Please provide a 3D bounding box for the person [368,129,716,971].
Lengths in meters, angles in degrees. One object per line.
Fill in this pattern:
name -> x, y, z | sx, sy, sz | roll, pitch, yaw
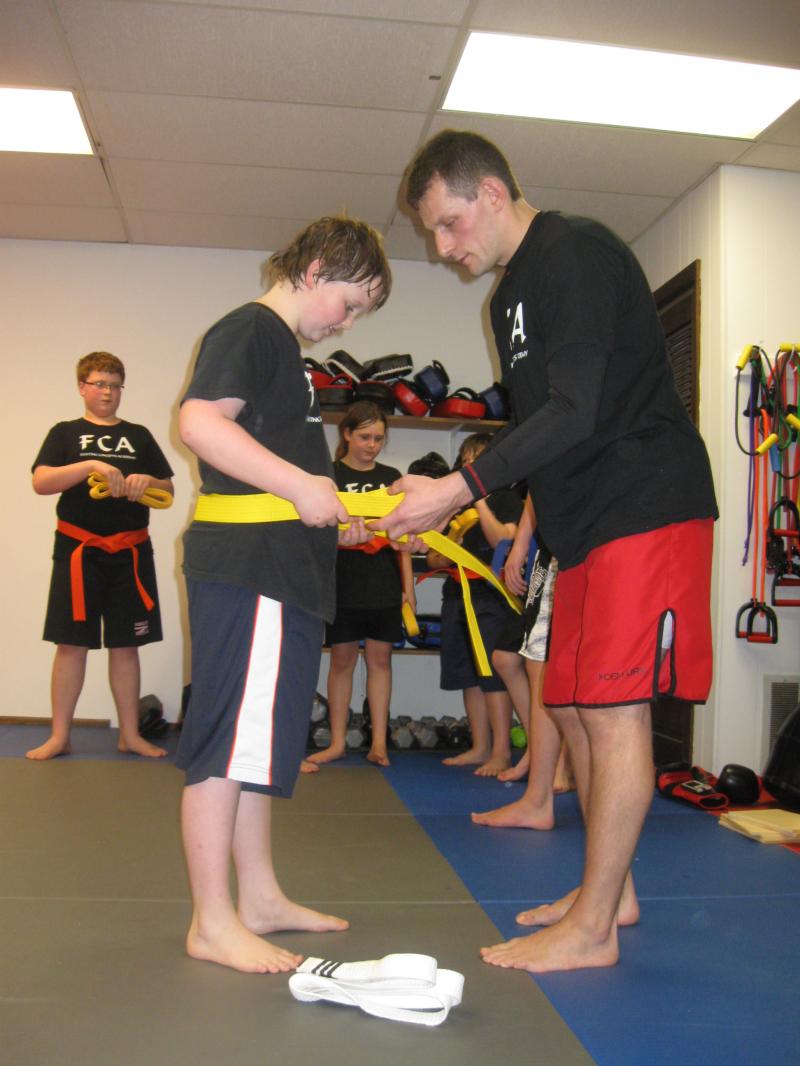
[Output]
person -> 0.266, -0.011, 1.616 | 0.545, 1.535, 0.362 | -1, -1, 20

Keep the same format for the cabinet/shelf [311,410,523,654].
cabinet/shelf -> 0.059, -0.051, 3.439 | 0.567, 0.973, 0.716 | -4, -3, 20

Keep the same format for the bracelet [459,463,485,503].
bracelet -> 0.114, -0.079, 1.529 | 0.016, 0.048, 0.051 | -23, -6, -7

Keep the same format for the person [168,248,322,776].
person -> -0.246, -0.013, 1.551 | 0.273, 0.908, 0.308 | 0, -1, -4
